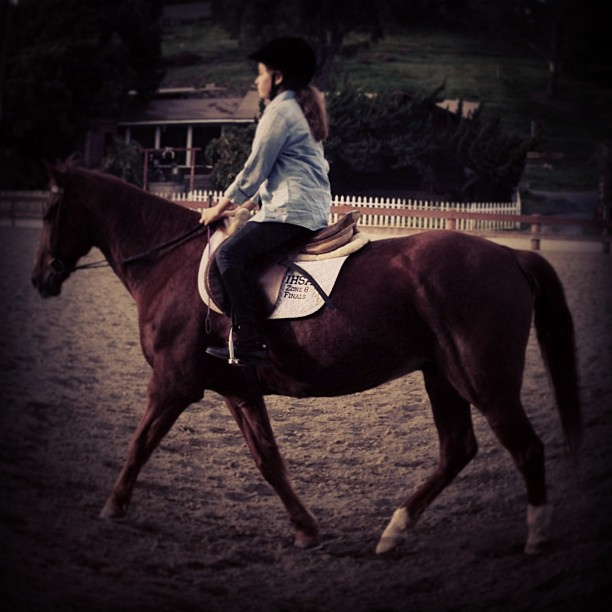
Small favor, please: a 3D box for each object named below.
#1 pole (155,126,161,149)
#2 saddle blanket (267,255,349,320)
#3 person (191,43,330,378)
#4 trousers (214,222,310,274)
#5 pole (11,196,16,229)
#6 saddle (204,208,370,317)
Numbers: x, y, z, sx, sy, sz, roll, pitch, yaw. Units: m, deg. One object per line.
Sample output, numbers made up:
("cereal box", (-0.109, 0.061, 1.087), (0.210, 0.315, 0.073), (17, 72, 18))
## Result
("pole", (-5.480, -6.254, 28.773), (0.183, 0.780, 0.354), (-2, 15, -29))
("saddle blanket", (-0.023, -0.091, 4.746), (0.436, 0.408, 0.098), (9, -18, 34))
("person", (-0.264, -0.573, 4.841), (0.811, 2.045, 0.725), (-8, 19, -44))
("trousers", (-0.266, -0.370, 4.804), (0.575, 0.314, 0.141), (-2, 15, -27))
("pole", (-7.170, -2.319, 19.014), (0.094, 0.744, 0.961), (0, 14, -21))
("saddle", (-0.153, -0.308, 4.943), (0.632, 0.884, 0.996), (4, 7, 20))
